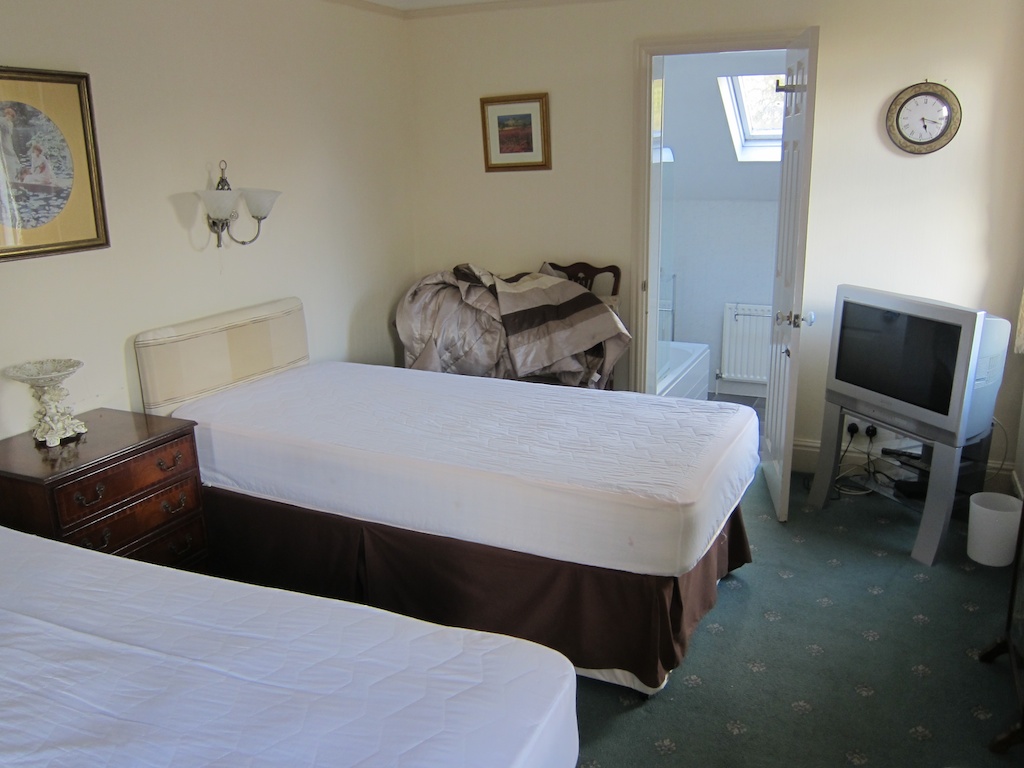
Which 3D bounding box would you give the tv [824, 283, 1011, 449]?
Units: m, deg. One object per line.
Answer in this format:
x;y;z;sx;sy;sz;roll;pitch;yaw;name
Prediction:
2.244;-0.115;4.045;0.383;0.683;0.742;-1;21;-39;tv

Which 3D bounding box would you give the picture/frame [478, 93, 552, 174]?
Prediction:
0.046;-1.734;5.000;0.481;0.524;0.035;4;16;25;picture/frame

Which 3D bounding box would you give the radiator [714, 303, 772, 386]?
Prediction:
2.077;-0.331;6.458;0.075;0.717;0.486;-5;9;-36;radiator

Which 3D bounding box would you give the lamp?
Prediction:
-1.511;-0.928;4.115;0.371;0.666;0.507;6;11;39;lamp

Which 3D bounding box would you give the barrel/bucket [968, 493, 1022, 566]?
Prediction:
2.540;0.772;3.909;0.231;0.324;0.244;-2;18;1;barrel/bucket

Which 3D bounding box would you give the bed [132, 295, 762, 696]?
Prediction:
-0.331;0.413;3.634;2.752;1.253;1.596;7;20;26;bed

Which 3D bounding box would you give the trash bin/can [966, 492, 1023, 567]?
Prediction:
2.540;0.772;3.909;0.231;0.324;0.244;11;22;35;trash bin/can

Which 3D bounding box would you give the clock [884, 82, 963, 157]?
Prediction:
2.403;-1.564;4.283;0.383;0.440;0.031;-3;14;29;clock
